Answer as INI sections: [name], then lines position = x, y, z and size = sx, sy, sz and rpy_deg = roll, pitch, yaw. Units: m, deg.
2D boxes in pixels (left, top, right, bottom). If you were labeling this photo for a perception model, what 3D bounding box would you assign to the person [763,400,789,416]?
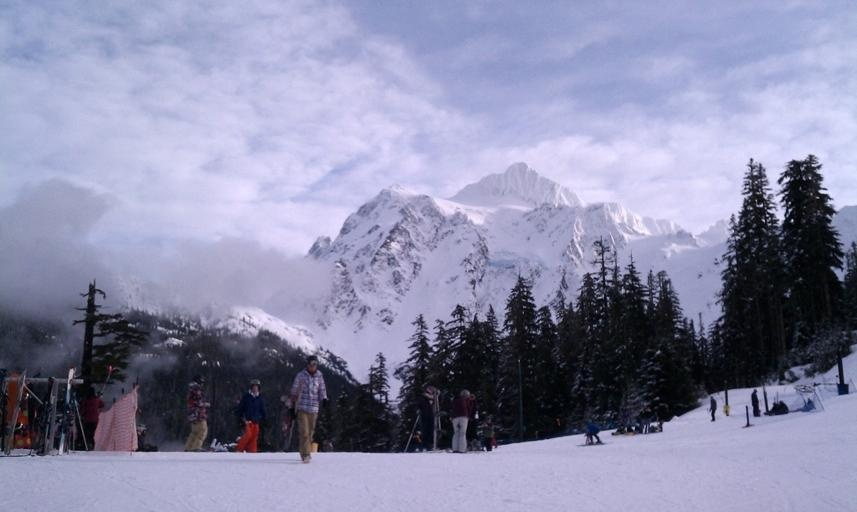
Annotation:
[person]
position = 21.172, 9.105, 44.717
size = 0.969, 0.930, 1.724
rpy_deg = 1, -17, -2
